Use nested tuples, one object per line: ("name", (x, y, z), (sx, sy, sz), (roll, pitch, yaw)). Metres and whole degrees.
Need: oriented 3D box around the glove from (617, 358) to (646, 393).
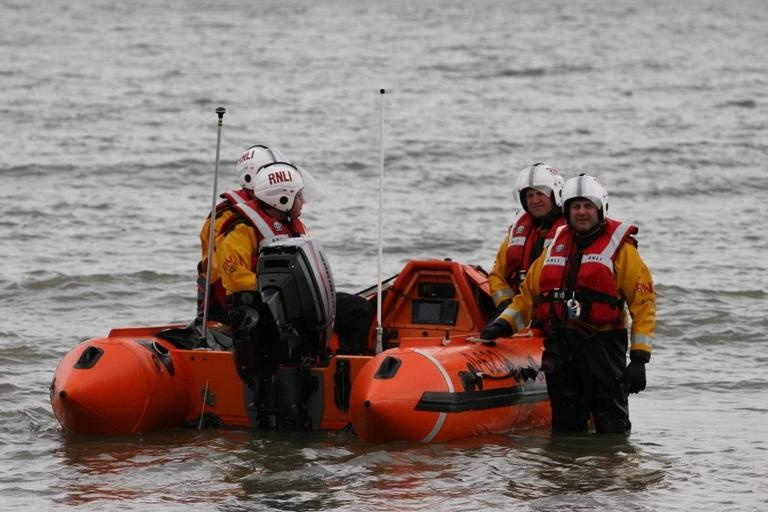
("glove", (4.698, 2.273, 34.161), (0.425, 0.649, 0.242), (0, 1, 5))
